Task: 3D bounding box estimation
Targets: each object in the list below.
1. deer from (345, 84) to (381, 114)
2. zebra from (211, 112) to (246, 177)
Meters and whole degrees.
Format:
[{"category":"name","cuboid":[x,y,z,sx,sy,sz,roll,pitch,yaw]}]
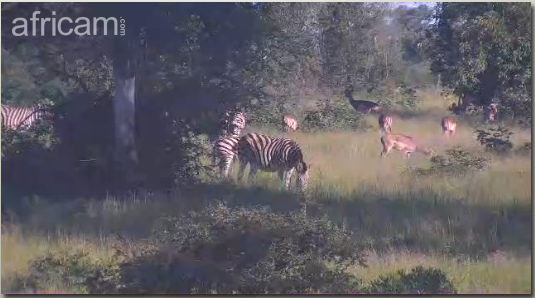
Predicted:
[{"category":"deer","cuboid":[1.573,-0.742,13.214,0.695,0.557,0.227,8,10,10]},{"category":"zebra","cuboid":[-0.612,-0.050,13.332,0.433,1.101,0.668,0,-1,16]}]
